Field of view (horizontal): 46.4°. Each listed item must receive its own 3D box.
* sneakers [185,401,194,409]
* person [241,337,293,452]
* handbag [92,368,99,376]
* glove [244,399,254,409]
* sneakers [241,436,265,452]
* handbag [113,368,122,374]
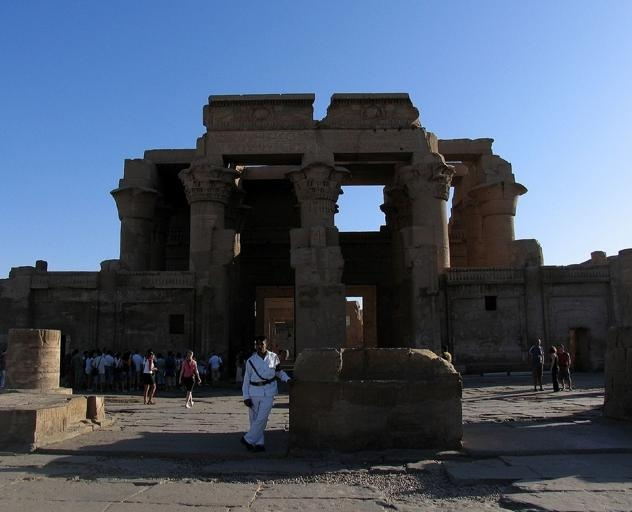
[{"bbox_3d":[-2.882,3.371,16.697,0.103,0.132,0.309,0,-14,-5],"label":"sneakers"},{"bbox_3d":[-0.842,2.134,11.737,0.697,1.707,1.425,0,-1,-3],"label":"person"},{"bbox_3d":[-6.329,3.310,21.240,0.227,0.212,0.152,8,19,19],"label":"handbag"},{"bbox_3d":[-1.075,2.300,11.516,0.121,0.161,0.196,0,-1,-12],"label":"glove"},{"bbox_3d":[-0.958,2.826,11.127,0.390,0.180,0.265,-1,-1,16],"label":"sneakers"},{"bbox_3d":[-5.918,3.401,21.873,0.214,0.200,0.051,2,-5,-33],"label":"handbag"}]
